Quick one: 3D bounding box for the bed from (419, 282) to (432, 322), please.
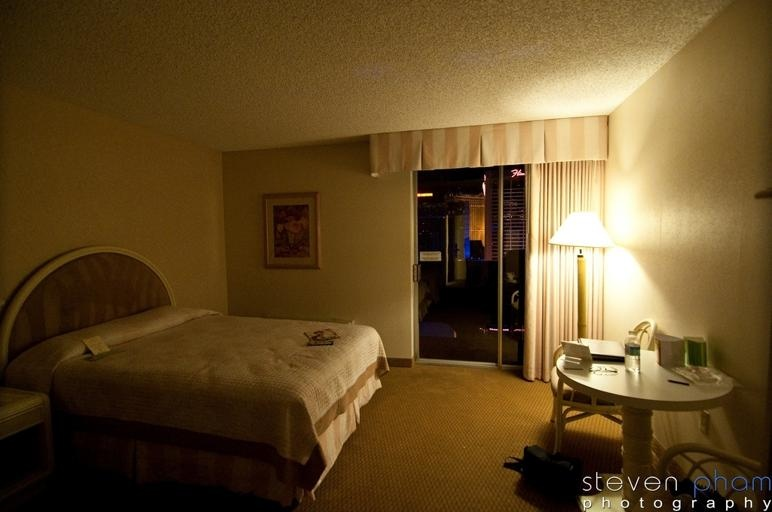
[{"bbox_3d":[0.560,0.588,7.981,0.127,0.524,0.920,1,3,8],"label":"bed"}]

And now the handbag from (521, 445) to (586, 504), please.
[{"bbox_3d":[1.446,1.779,4.800,0.558,0.397,0.313,0,0,42],"label":"handbag"}]

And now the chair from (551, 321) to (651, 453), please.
[{"bbox_3d":[2.003,1.120,5.309,0.892,1.187,0.780,5,11,17],"label":"chair"}]
